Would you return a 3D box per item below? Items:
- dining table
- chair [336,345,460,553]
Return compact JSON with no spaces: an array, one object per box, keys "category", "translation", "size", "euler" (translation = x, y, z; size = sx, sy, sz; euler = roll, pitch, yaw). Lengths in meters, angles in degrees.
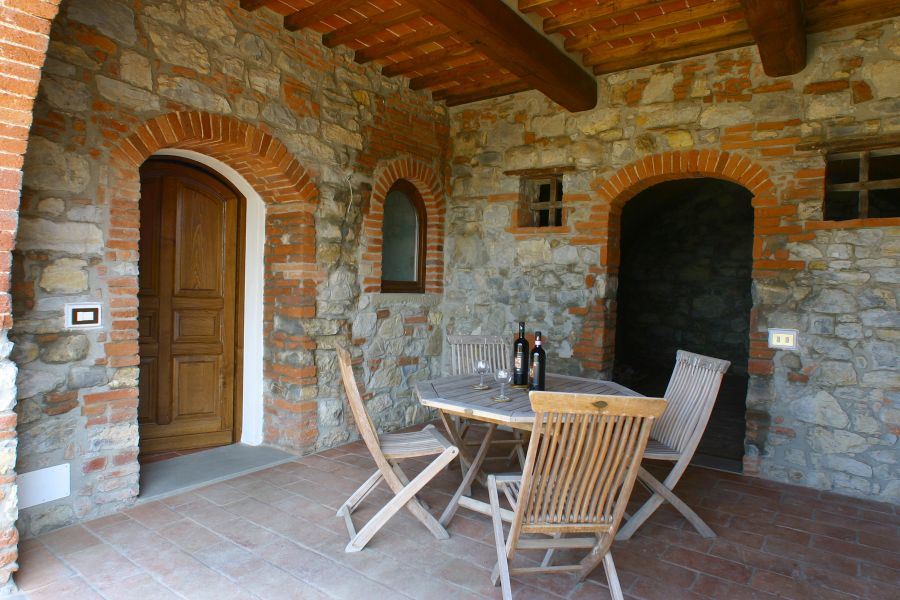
[{"category":"dining table","translation":[0.316,1.190,4.627],"size":[1.599,0.899,1.477],"euler":[10,-4,-32]},{"category":"chair","translation":[-0.444,1.087,4.401],"size":[0.924,1.288,0.852],"euler":[1,-3,-23]}]
